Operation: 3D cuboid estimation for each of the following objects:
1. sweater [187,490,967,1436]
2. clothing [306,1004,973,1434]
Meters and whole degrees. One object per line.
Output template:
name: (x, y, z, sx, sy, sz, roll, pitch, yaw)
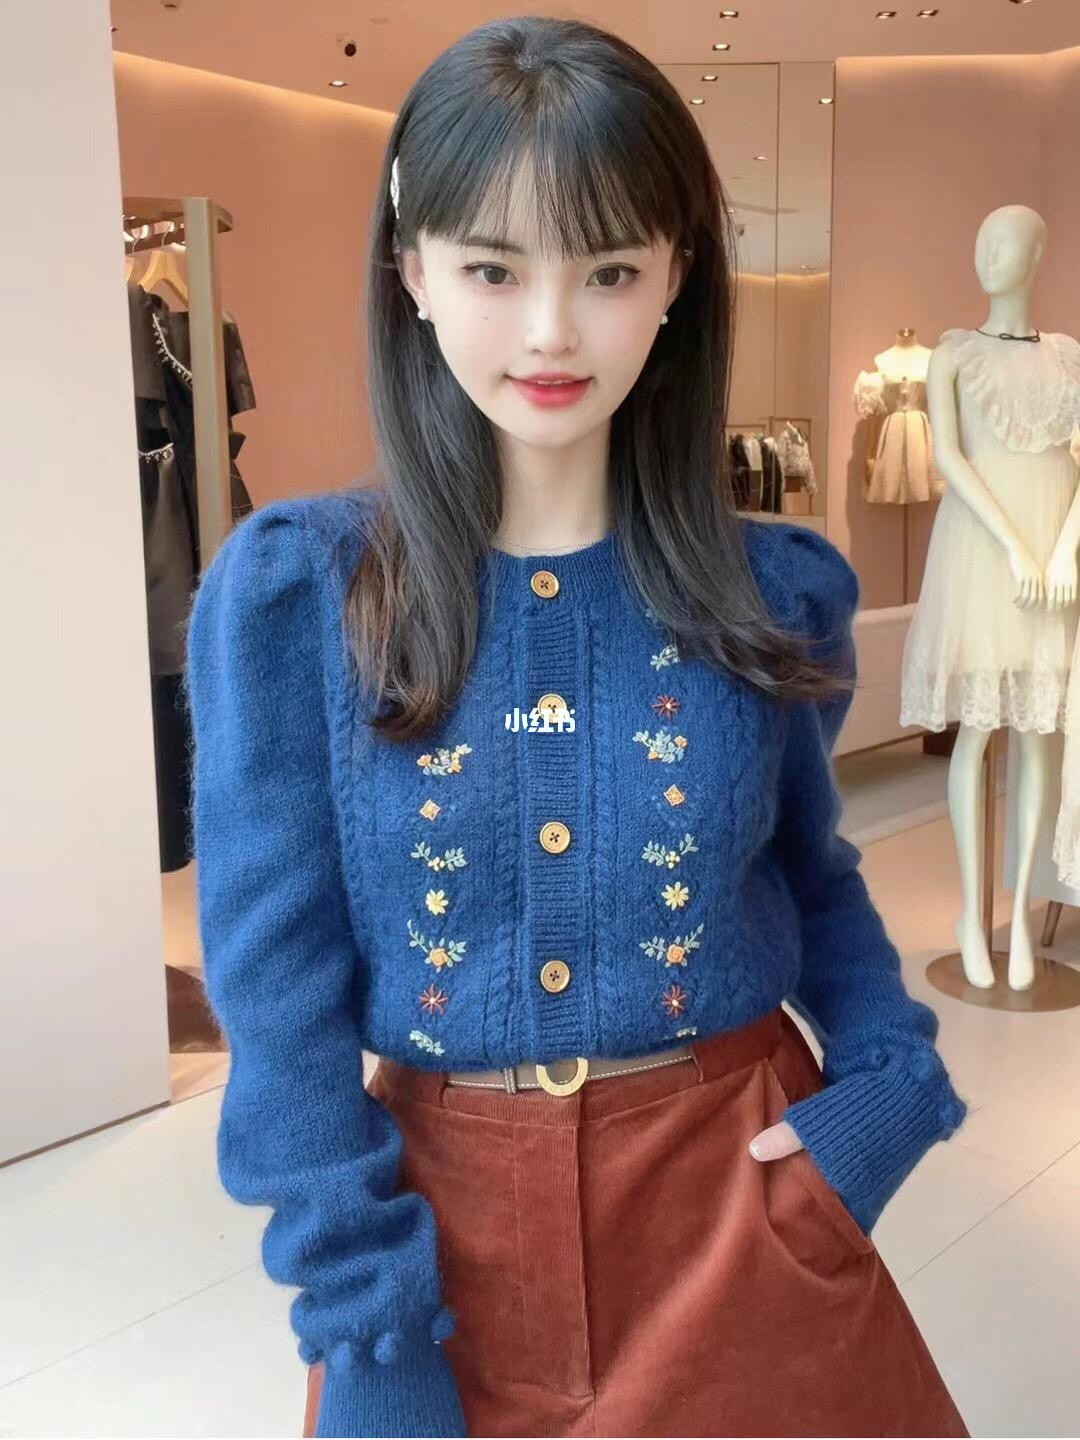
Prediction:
sweater: (0.045, 0.116, 0.813, 0.520, 0.526, 0.257, -5, 11, -27)
clothing: (0.049, 0.307, 0.736, 0.292, 0.269, 0.149, -16, 3, -23)
